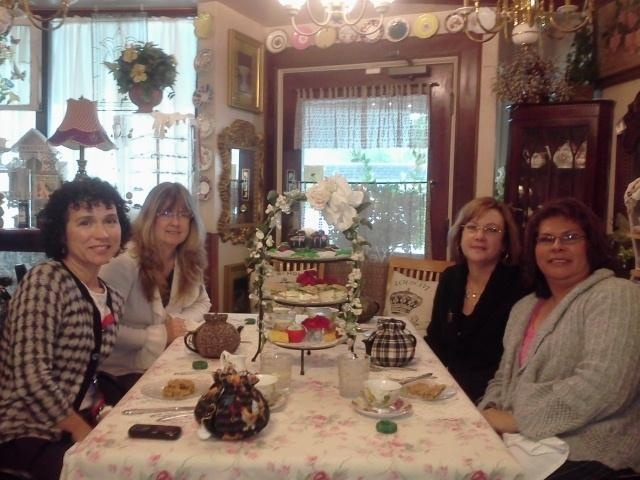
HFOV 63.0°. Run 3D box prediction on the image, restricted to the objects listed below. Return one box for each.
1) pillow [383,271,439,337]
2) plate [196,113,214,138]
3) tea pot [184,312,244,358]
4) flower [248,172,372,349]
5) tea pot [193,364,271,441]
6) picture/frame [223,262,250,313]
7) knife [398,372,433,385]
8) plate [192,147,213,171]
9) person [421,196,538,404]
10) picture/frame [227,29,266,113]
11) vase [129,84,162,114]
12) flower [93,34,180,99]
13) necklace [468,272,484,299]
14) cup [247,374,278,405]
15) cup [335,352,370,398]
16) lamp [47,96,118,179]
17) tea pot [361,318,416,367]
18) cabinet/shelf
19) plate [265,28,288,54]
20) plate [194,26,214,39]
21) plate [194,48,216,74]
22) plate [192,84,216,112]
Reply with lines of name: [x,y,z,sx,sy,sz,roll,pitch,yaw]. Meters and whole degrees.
pillow: [0.644,0.435,3.575,0.371,0.388,0.138,13,-16,23]
plate: [-1.082,-1.050,4.841,0.162,0.217,0.141,-4,12,-19]
tea pot: [-0.482,0.413,2.335,0.244,0.162,0.193,0,0,4]
flower: [-0.037,0.071,2.158,0.479,0.683,0.222,5,-28,-6]
tea pot: [-0.289,0.525,1.756,0.270,0.223,0.262,3,7,0]
picture/frame: [-0.831,0.498,5.200,0.103,0.558,0.420,5,13,24]
knife: [0.390,0.567,2.132,0.177,0.025,0.034,-8,27,-37]
plate: [-1.101,-0.761,4.822,0.207,0.222,0.052,-1,9,-6]
person: [0.823,0.311,2.924,0.728,1.080,0.704,8,1,17]
picture/frame: [-0.732,-1.625,5.093,0.129,0.739,0.556,5,12,23]
vase: [-1.505,-1.209,4.473,0.238,0.220,0.231,-4,21,-15]
flower: [-1.518,-1.475,4.445,0.516,0.387,0.535,-6,15,3]
necklace: [0.889,0.273,2.994,0.124,0.115,0.093,0,4,36]
cup: [-0.206,0.522,1.850,0.105,0.088,0.118,0,-7,-1]
cup: [0.121,0.509,1.966,0.154,0.164,0.150,1,-2,0]
lamp: [-2.073,-0.873,4.541,0.586,0.764,0.599,3,10,-25]
tea pot: [0.313,0.459,2.333,0.226,0.201,0.183,1,-2,-10]
cabinet/shelf: [2.052,-0.437,4.639,0.754,1.466,0.199,0,21,15]
plate: [-0.442,-2.002,5.318,0.232,0.229,0.052,33,15,14]
plate: [-1.086,-1.897,4.791,0.161,0.091,0.077,5,12,22]
plate: [-1.079,-1.661,4.819,0.185,0.218,0.069,-1,12,-4]
plate: [-1.086,-1.319,4.848,0.181,0.224,0.065,28,12,3]
